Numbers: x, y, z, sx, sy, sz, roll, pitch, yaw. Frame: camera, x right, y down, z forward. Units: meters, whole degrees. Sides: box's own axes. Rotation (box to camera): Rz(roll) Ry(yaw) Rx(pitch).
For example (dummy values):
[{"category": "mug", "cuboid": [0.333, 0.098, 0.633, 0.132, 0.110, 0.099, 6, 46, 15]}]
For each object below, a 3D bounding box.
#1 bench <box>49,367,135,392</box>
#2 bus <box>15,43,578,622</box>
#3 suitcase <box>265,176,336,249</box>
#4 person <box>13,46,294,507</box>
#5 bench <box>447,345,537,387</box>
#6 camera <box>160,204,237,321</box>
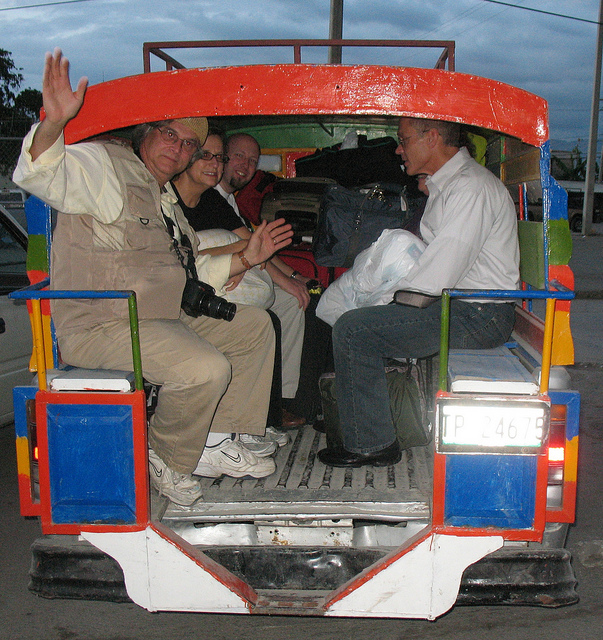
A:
[{"category": "bench", "cuboid": [-0.748, 0.216, 2.692, 0.330, 0.059, 0.247, 2, 11, 7]}, {"category": "bus", "cuboid": [0.087, -0.031, 4.208, 2.264, 2.060, 3.473, 0, 7, 4]}, {"category": "suitcase", "cuboid": [-0.044, -0.784, 4.601, 0.429, 0.279, 0.573, 0, 44, 8]}, {"category": "person", "cuboid": [-0.550, -0.112, 3.041, 1.305, 1.674, 0.888, -1, 10, -38]}, {"category": "bench", "cuboid": [0.723, 0.183, 2.876, 0.312, 0.080, 0.594, 3, 13, 4]}, {"category": "camera", "cuboid": [-0.402, -0.184, 3.115, 0.231, 0.356, 0.146, 10, 2, 20]}]
